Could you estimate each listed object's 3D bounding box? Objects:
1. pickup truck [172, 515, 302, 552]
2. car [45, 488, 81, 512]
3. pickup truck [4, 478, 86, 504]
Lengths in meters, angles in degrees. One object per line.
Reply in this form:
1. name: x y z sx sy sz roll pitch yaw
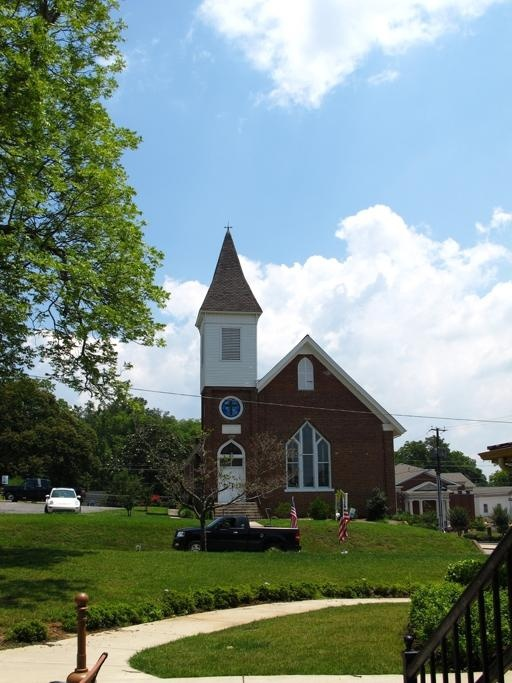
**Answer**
1. pickup truck: -0.637 6.042 25.538 3.353 0.976 1.428 2 -16 -3
2. car: -8.849 7.345 37.855 0.947 0.738 1.857 2 -17 -10
3. pickup truck: -14.368 9.597 52.670 3.160 1.078 1.661 4 -7 -21
